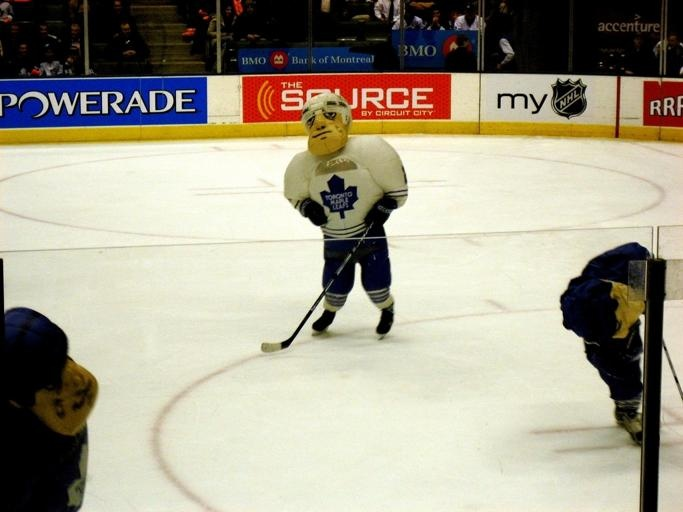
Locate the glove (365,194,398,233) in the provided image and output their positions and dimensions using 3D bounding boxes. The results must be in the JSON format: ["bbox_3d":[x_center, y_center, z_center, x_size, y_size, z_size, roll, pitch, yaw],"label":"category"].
[{"bbox_3d":[0.196,-0.199,4.454,0.096,0.181,0.232,5,15,25],"label":"glove"}]

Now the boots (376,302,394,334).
[{"bbox_3d":[0.168,0.223,3.268,0.037,0.116,0.049,3,-24,36],"label":"boots"}]

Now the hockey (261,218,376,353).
[{"bbox_3d":[-0.074,0.127,3.349,0.110,0.102,0.735,0,39,51],"label":"hockey"}]
